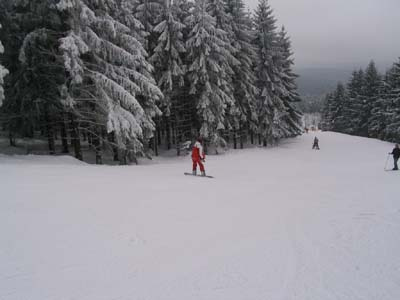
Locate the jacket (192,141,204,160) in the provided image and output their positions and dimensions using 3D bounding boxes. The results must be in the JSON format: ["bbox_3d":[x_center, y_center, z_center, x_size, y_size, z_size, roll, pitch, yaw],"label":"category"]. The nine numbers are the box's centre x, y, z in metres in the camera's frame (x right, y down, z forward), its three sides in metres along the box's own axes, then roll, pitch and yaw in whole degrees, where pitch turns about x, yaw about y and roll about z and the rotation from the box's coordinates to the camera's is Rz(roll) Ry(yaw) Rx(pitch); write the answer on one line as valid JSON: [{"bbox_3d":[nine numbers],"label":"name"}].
[{"bbox_3d":[-0.113,0.024,20.707,0.653,1.036,0.518,1,5,4],"label":"jacket"}]
